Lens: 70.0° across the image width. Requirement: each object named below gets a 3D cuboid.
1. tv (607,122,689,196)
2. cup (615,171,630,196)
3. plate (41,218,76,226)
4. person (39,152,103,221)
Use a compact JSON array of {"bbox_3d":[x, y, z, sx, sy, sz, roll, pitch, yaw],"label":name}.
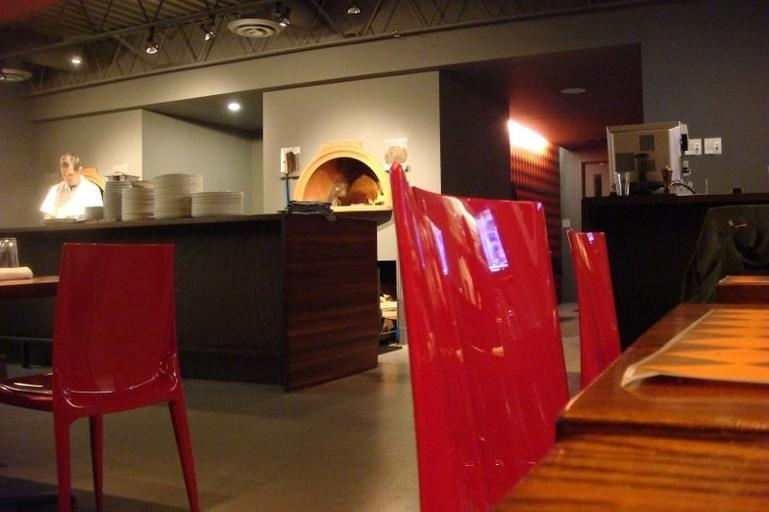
[{"bbox_3d":[2.132,-0.817,4.476,0.709,0.695,0.557,1,7,23],"label":"tv"},{"bbox_3d":[1.751,-0.534,4.046,0.075,0.183,0.331,1,5,18],"label":"cup"},{"bbox_3d":[-2.933,-0.309,4.971,0.244,0.070,0.685,-3,6,-32],"label":"plate"},{"bbox_3d":[-3.955,-0.732,6.937,0.715,0.990,0.521,-3,2,-19],"label":"person"}]
